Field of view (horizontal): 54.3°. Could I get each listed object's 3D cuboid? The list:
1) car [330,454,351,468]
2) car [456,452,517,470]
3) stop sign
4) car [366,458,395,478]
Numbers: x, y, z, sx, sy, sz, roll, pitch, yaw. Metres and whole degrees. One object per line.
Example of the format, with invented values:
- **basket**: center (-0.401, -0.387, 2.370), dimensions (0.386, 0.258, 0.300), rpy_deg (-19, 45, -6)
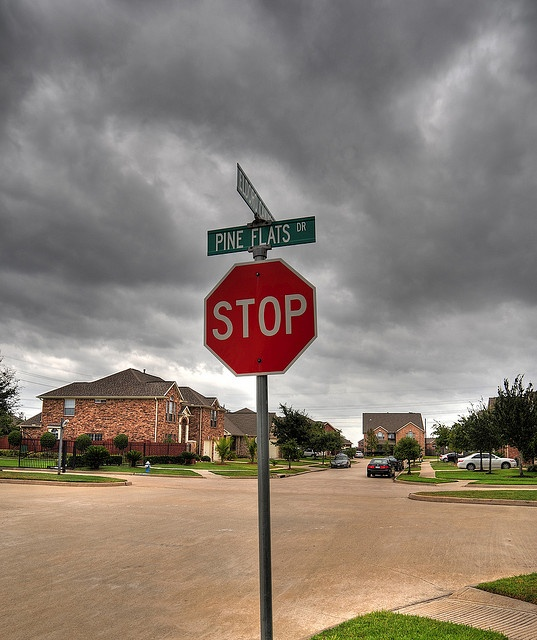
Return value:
- **car**: center (7.626, 15.146, 55.710), dimensions (1.429, 1.278, 2.660), rpy_deg (-4, -24, 8)
- **car**: center (19.059, 12.865, 46.995), dimensions (5.113, 1.387, 3.447), rpy_deg (11, -20, -33)
- **stop sign**: center (-0.023, 0.005, 2.626), dimensions (0.506, 0.580, 0.064), rpy_deg (-1, -10, 19)
- **car**: center (7.894, 10.572, 37.067), dimensions (1.643, 1.335, 2.149), rpy_deg (-5, -17, 17)
